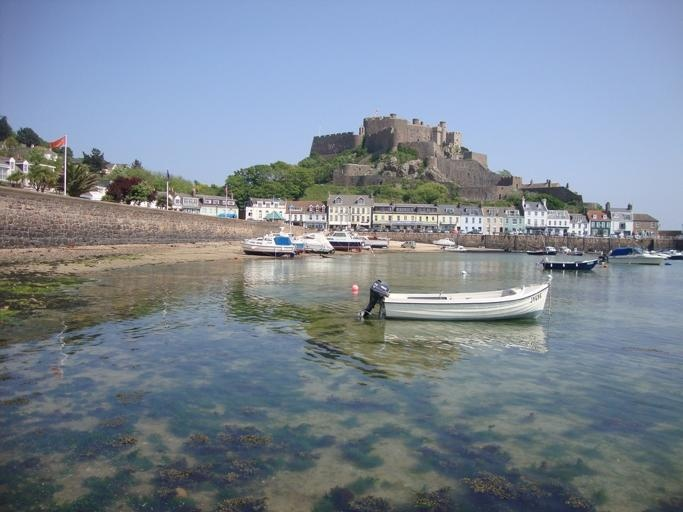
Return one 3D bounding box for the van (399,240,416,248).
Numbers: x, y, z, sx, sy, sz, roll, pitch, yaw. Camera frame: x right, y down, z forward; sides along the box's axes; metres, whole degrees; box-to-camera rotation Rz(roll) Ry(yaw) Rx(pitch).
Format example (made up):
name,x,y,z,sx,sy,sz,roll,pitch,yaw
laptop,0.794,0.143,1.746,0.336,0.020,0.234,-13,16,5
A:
name,x,y,z,sx,sy,sz,roll,pitch,yaw
van,9.926,-1.834,92.201,2.302,1.171,1.375,3,1,9
